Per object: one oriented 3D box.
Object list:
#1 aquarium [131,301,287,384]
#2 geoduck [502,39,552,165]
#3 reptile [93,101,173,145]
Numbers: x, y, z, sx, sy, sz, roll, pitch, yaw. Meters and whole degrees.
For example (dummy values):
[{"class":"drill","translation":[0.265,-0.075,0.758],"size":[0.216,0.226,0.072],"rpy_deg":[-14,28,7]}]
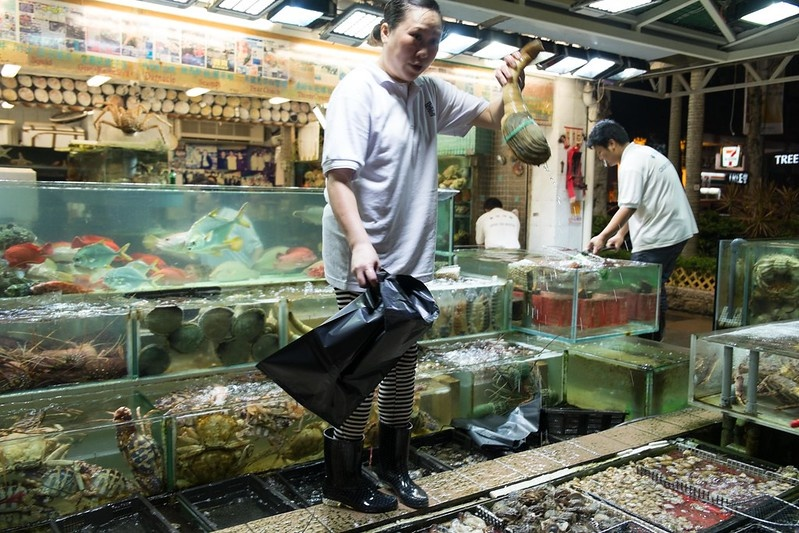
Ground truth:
[{"class":"aquarium","translation":[-1.177,0.429,3.176],"size":[0.989,0.392,0.641],"rpy_deg":[-4,12,-37]},{"class":"geoduck","translation":[0.592,-0.762,2.400],"size":[0.225,0.657,0.188],"rpy_deg":[-27,-54,31]},{"class":"reptile","translation":[-2.656,-1.445,5.038],"size":[0.710,0.204,0.728],"rpy_deg":[-3,16,28]}]
